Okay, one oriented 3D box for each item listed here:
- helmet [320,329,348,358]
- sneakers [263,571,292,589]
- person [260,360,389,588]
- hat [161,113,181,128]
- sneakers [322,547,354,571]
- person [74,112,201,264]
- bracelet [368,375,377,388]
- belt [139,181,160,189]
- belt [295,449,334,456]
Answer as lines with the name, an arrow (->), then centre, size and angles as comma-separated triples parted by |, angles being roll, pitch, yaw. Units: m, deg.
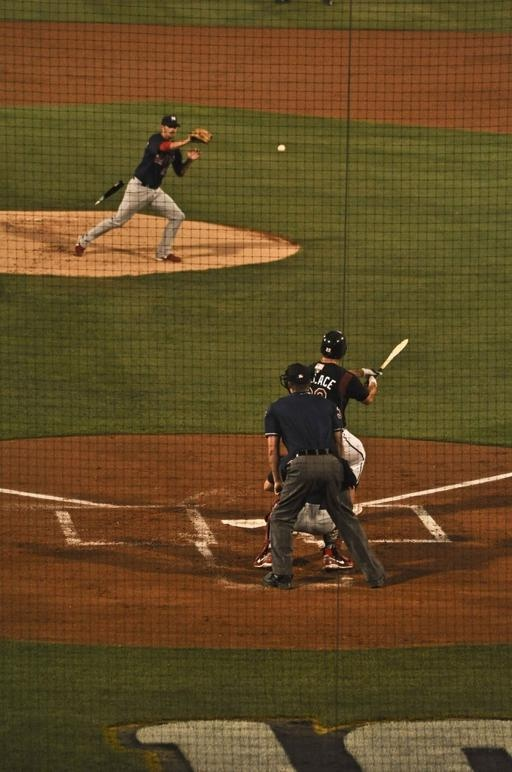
helmet -> 0.586, -0.304, 10.164 | 0.171, 0.209, 0.197 | 0, 6, 1
sneakers -> 0.161, 1.444, 9.892 | 0.100, 0.128, 0.261 | -5, 9, -27
person -> 0.474, 0.689, 9.697 | 0.830, 1.683, 0.499 | 0, 6, 0
hat -> -0.938, -2.814, 14.229 | 0.182, 0.126, 0.239 | -8, 14, -34
sneakers -> 0.606, 1.323, 10.184 | 0.112, 0.146, 0.327 | -5, -2, 29
person -> -1.135, -2.108, 14.443 | 0.889, 1.533, 1.544 | -4, 7, -36
bracelet -> 0.904, -0.022, 10.346 | 0.081, 0.107, 0.039 | 0, 11, -3
belt -> -1.128, -2.123, 14.259 | 0.067, 0.076, 0.216 | 5, 7, 40
belt -> 0.415, 0.478, 9.492 | 0.260, 0.050, 0.039 | -1, 6, -8
